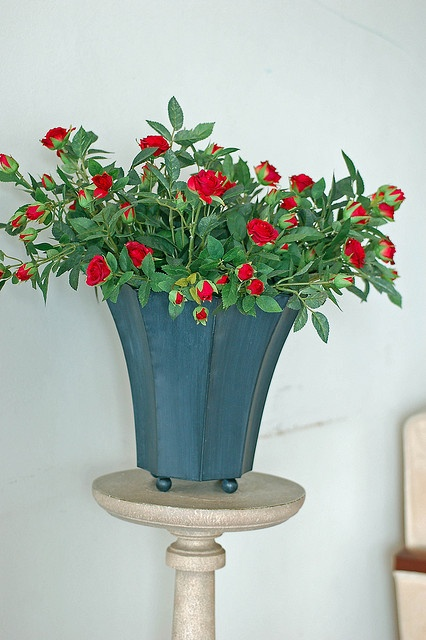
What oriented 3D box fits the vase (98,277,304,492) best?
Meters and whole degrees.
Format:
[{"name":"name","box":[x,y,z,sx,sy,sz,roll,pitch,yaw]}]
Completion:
[{"name":"vase","box":[-0.023,0.087,0.871,0.270,0.212,0.259,2,-5,-5]}]
